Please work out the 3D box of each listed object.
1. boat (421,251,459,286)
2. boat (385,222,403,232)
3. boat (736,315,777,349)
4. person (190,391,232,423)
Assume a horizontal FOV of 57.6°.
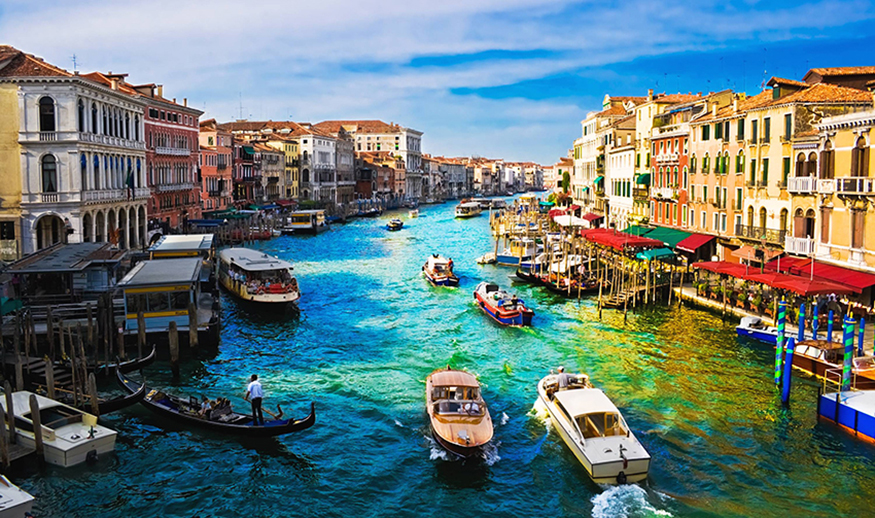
[{"bbox_3d":[0.060,1.258,96.283,4.145,3.349,11.268,-1,2,-3],"label":"boat"},{"bbox_3d":[-9.353,-6.610,162.121,2.831,1.483,2.689,3,5,27],"label":"boat"},{"bbox_3d":[25.834,5.904,64.649,2.032,1.736,3.107,-4,10,-21],"label":"boat"},{"bbox_3d":[-14.680,9.590,51.489,1.527,0.920,2.354,3,3,-9],"label":"person"}]
